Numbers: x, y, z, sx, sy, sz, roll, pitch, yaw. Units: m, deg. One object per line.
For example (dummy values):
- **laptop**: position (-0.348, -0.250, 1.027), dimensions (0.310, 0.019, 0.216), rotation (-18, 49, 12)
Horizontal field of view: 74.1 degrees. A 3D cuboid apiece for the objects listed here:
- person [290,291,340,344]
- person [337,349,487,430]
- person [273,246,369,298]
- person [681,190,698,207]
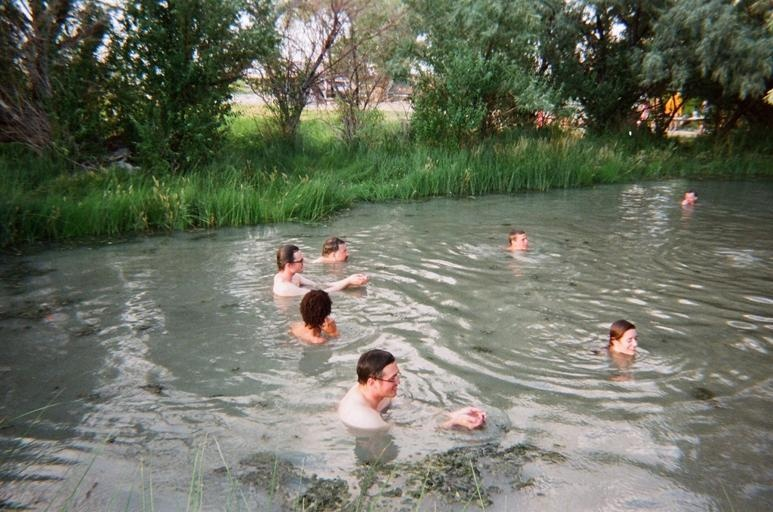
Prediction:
- **person**: position (-0.998, 0.819, 7.263), dimensions (0.635, 0.704, 0.667), rotation (-11, 25, -27)
- **person**: position (0.288, 1.519, 5.807), dimensions (1.634, 0.836, 0.806), rotation (-3, -1, 24)
- **person**: position (-1.093, 0.278, 8.657), dimensions (1.607, 0.889, 0.740), rotation (0, 16, -8)
- **person**: position (8.391, -1.593, 14.170), dimensions (0.348, 0.397, 0.829), rotation (5, 12, 30)
